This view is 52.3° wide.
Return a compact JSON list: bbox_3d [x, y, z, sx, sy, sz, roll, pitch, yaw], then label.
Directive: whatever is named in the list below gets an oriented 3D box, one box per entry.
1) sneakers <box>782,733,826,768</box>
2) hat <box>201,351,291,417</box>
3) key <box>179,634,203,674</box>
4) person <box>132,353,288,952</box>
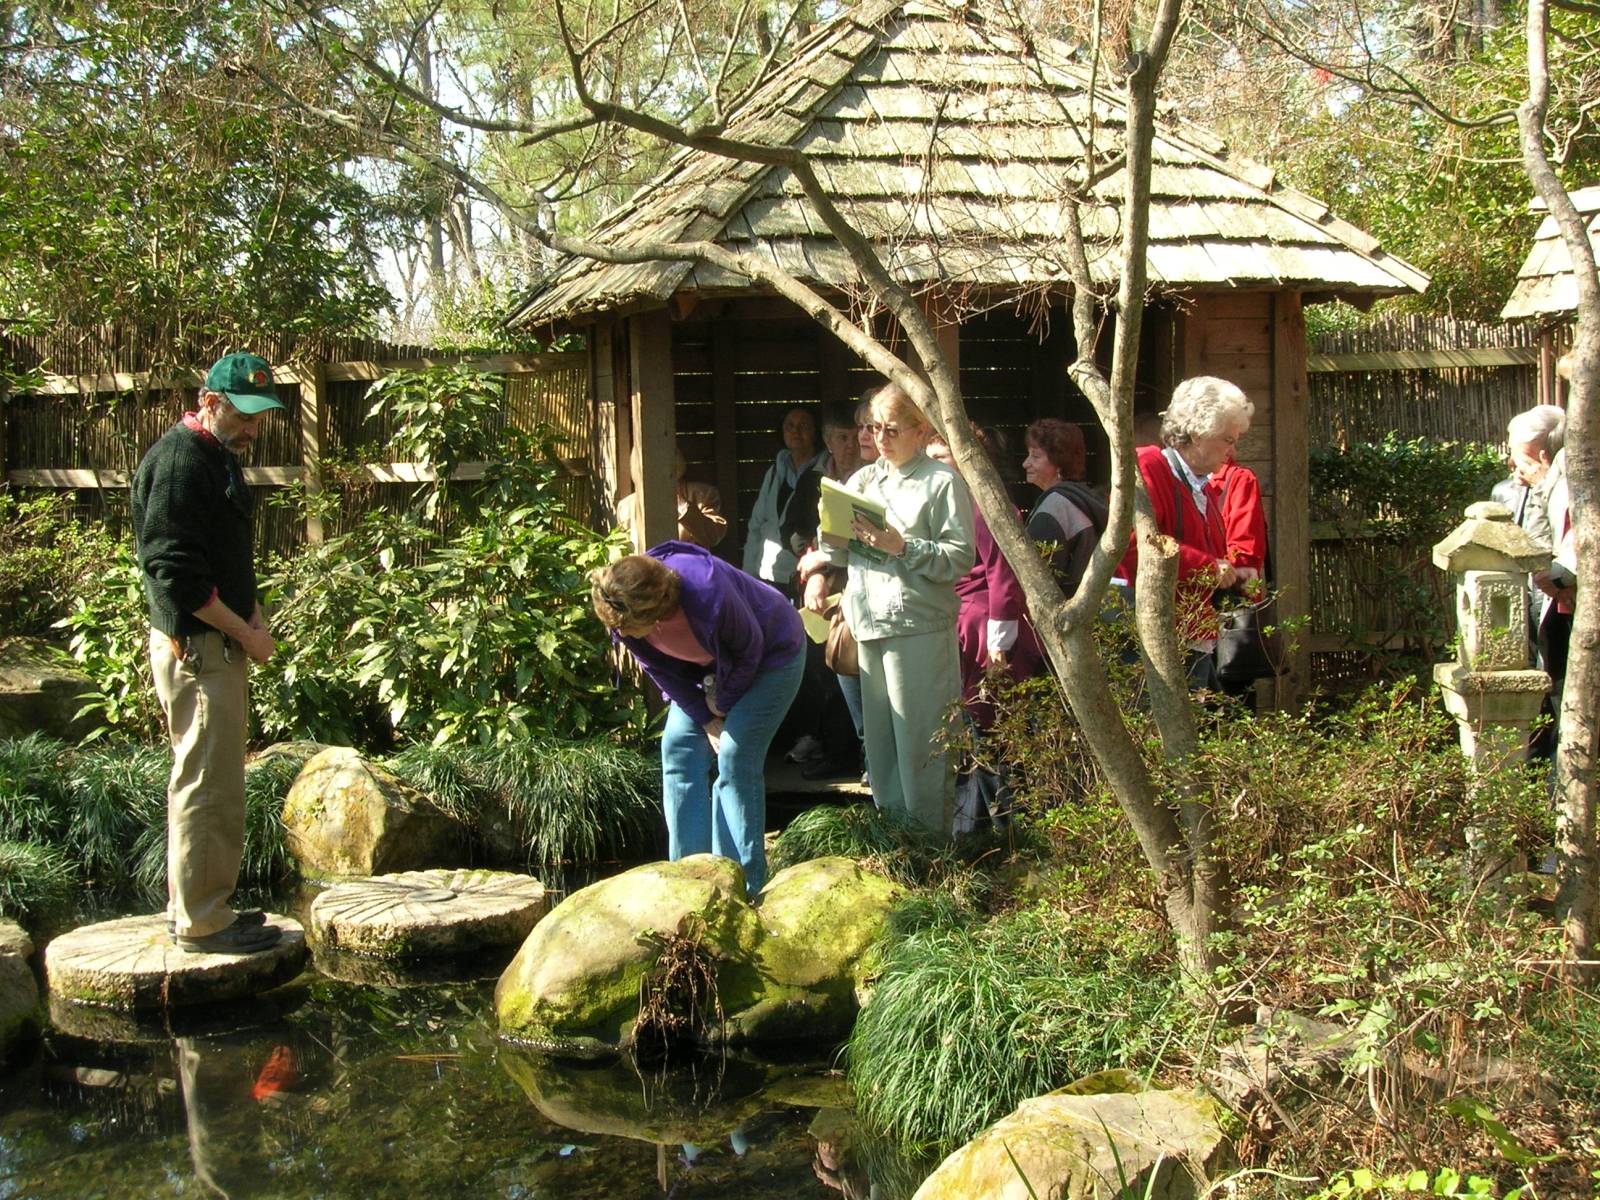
[{"bbox_3d":[0.042,1.002,10.903,0.209,0.170,0.150,10,-4,-13],"label":"sneakers"},{"bbox_3d":[-2.569,-1.010,7.470,0.373,0.222,0.251,17,19,26],"label":"hat"},{"bbox_3d":[-2.728,0.231,7.366,0.097,0.162,0.154,-6,7,-17],"label":"key"},{"bbox_3d":[-2.713,0.260,7.496,0.620,2.764,0.571,-2,2,-24],"label":"person"}]
